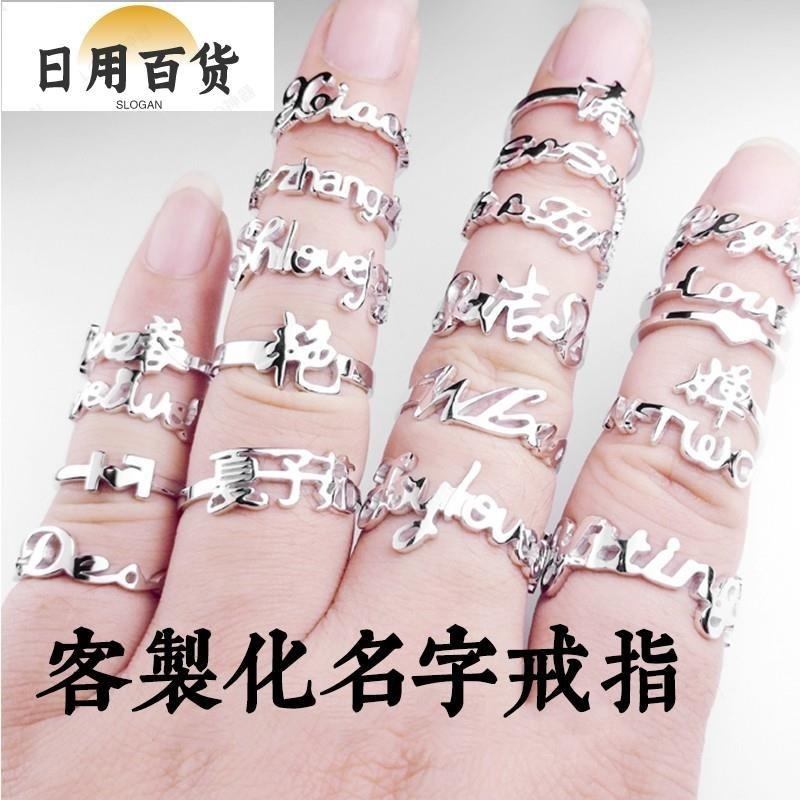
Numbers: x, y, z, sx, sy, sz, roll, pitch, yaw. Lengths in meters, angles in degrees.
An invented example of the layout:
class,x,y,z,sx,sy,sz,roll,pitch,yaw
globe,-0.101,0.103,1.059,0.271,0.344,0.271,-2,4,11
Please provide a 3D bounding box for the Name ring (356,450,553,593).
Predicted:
class,x,y,z,sx,sy,sz,roll,pitch,yaw
Name ring,0.042,0.108,0.739,0.161,0.113,0.039,26,-21,0

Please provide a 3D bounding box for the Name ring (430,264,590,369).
class,x,y,z,sx,sy,sz,roll,pitch,yaw
Name ring,0.113,-0.087,0.805,0.145,0.088,0.042,12,4,11

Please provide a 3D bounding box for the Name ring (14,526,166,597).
class,x,y,z,sx,sy,sz,roll,pitch,yaw
Name ring,-0.300,0.157,0.789,0.112,0.027,0.059,13,39,-19

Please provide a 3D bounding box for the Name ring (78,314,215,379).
class,x,y,z,sx,sy,sz,roll,pitch,yaw
Name ring,-0.276,-0.057,0.883,0.114,0.077,0.030,4,-21,-9

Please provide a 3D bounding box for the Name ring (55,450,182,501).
class,x,y,z,sx,sy,sz,roll,pitch,yaw
Name ring,-0.288,0.079,0.830,0.143,0.045,0.037,6,-10,-9

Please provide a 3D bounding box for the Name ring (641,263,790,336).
class,x,y,z,sx,sy,sz,roll,pitch,yaw
Name ring,0.318,-0.082,0.817,0.101,0.032,0.074,22,-2,-11

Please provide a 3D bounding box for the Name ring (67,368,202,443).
class,x,y,z,sx,sy,sz,roll,pitch,yaw
Name ring,-0.278,0.002,0.862,0.117,0.070,0.024,16,-18,-6
